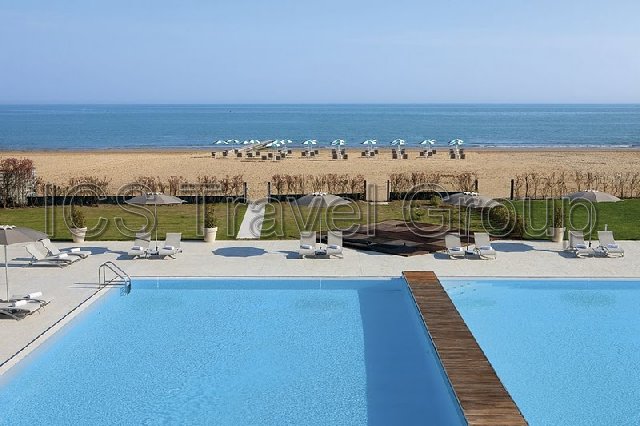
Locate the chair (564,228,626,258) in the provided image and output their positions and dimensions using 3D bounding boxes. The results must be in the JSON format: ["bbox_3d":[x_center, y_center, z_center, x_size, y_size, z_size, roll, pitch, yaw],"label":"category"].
[{"bbox_3d":[10.371,1.278,20.027,1.854,0.606,1.229,0,1,7],"label":"chair"}]

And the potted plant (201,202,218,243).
[{"bbox_3d":[-4.564,0.457,21.805,0.579,1.604,0.799,-5,17,-13],"label":"potted plant"}]

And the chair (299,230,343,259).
[{"bbox_3d":[0.098,1.304,19.693,1.719,0.707,1.074,0,-2,3],"label":"chair"}]

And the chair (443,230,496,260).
[{"bbox_3d":[5.645,1.205,19.707,1.814,0.840,1.146,1,14,7],"label":"chair"}]

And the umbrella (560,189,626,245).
[{"bbox_3d":[12.298,0.283,23.679,2.971,2.209,2.523,-3,12,2],"label":"umbrella"}]

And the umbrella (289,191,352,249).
[{"bbox_3d":[0.082,0.218,20.439,2.265,1.791,2.175,-5,-1,28],"label":"umbrella"}]

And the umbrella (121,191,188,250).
[{"bbox_3d":[-6.571,0.335,20.905,2.893,2.225,2.602,0,-2,21],"label":"umbrella"}]
